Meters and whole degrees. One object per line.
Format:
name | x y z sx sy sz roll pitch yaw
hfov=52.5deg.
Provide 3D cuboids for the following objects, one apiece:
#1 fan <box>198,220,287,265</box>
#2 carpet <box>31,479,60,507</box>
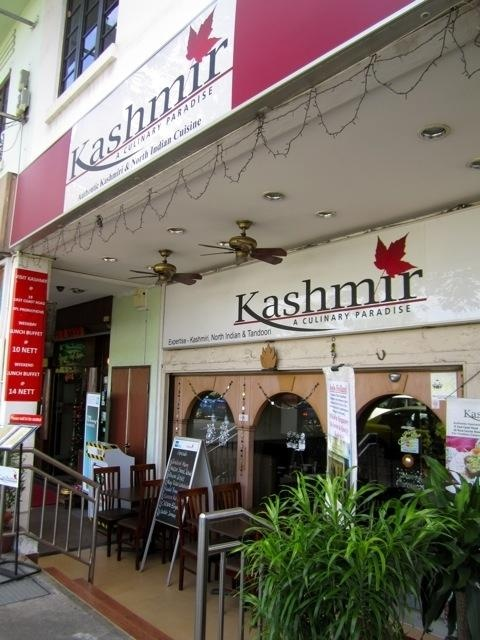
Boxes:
fan | -0.026 -0.694 4.171 0.693 0.292 0.759 11 3 33
carpet | -3.561 3.102 8.841 0.394 0.146 2.290 5 -8 -20
